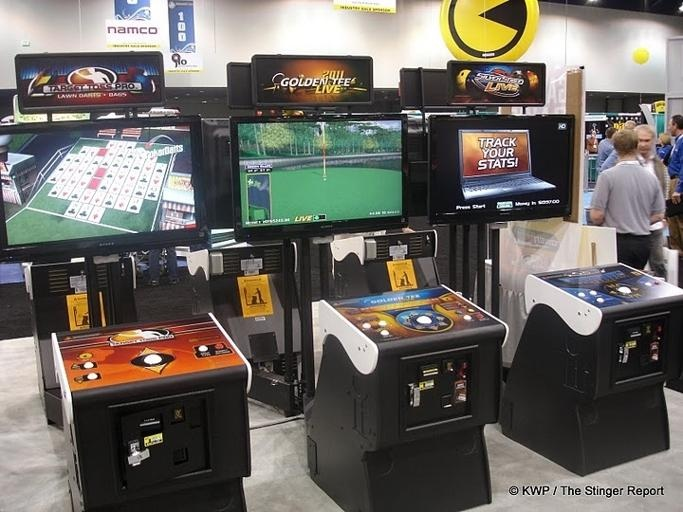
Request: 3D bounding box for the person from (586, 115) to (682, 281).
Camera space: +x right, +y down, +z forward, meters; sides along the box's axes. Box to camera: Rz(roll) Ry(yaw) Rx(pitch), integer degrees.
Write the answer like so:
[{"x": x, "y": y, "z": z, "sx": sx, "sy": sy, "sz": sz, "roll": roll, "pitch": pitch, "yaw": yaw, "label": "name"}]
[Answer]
[{"x": 2.741, "y": -0.513, "z": 4.877, "sx": 0.590, "sy": 1.355, "sz": 1.540, "roll": 3, "pitch": 14, "yaw": 32, "label": "person"}]
